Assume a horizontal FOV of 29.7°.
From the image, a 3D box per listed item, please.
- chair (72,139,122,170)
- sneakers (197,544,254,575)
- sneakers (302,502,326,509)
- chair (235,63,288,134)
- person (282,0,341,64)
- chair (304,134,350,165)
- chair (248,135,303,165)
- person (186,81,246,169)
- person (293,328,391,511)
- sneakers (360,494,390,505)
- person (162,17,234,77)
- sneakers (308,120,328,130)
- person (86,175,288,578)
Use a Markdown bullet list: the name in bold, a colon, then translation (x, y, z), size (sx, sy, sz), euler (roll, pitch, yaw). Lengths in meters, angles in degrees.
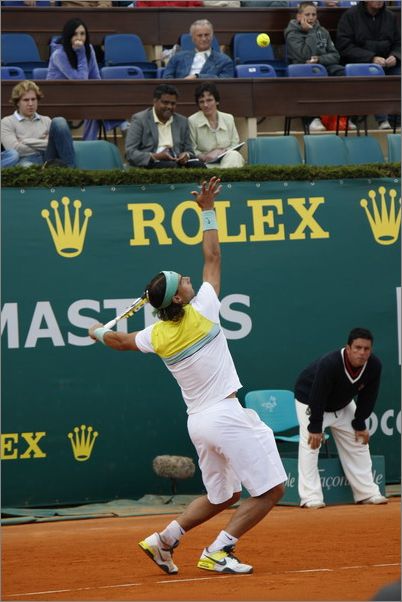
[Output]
- **chair**: translation (-1.031, -1.448, 7.532), size (0.439, 0.321, 0.334), euler (-10, 8, -8)
- **sneakers**: translation (0.108, 1.334, 3.950), size (0.330, 0.184, 0.120), euler (4, -7, -4)
- **sneakers**: translation (0.882, 1.618, 6.015), size (0.067, 0.075, 0.182), euler (5, -16, -44)
- **chair**: translation (0.806, -2.818, 9.952), size (0.521, 0.682, 0.550), euler (0, -2, -12)
- **person**: translation (1.504, -3.668, 10.543), size (0.735, 1.010, 0.646), euler (-8, 8, 8)
- **chair**: translation (1.340, -1.615, 8.145), size (0.645, 0.346, 0.281), euler (-15, 10, -40)
- **chair**: translation (0.758, -1.562, 7.936), size (0.509, 0.506, 0.669), euler (-4, 8, -1)
- **person**: translation (0.193, -1.662, 7.890), size (0.525, 1.104, 0.644), euler (-18, 32, -26)
- **person**: translation (1.091, 0.953, 6.091), size (0.770, 1.493, 0.566), euler (-8, 8, 11)
- **sneakers**: translation (1.396, 1.602, 6.165), size (0.225, 0.094, 0.083), euler (0, -2, 17)
- **person**: translation (-0.028, -3.075, 9.448), size (0.918, 0.792, 0.540), euler (7, 23, 15)
- **sneakers**: translation (1.557, -2.356, 10.226), size (0.111, 0.115, 0.275), euler (-2, 9, -16)
- **person**: translation (-0.057, 0.479, 3.955), size (0.799, 2.160, 0.559), euler (-10, 8, -3)
